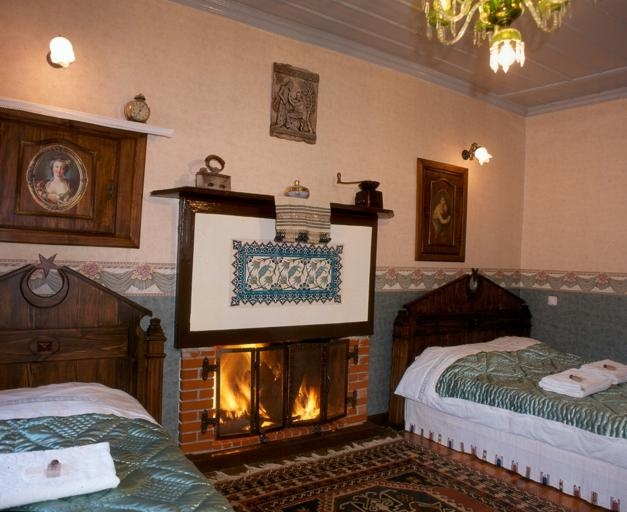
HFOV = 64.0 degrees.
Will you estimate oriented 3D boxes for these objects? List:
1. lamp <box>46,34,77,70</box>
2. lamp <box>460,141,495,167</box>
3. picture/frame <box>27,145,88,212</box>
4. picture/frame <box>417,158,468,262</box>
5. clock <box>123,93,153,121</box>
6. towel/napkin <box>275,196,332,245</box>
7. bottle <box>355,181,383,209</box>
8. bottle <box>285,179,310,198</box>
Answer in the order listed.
[{"bbox_3d":[-1.731,-1.388,3.402,0.067,0.227,0.172,17,21,42],"label":"lamp"},{"bbox_3d":[1.827,-1.132,5.578,0.239,0.223,0.330,11,3,-26],"label":"lamp"},{"bbox_3d":[-1.784,-0.544,3.456,0.476,0.600,0.043,-1,6,-34],"label":"picture/frame"},{"bbox_3d":[1.392,-0.481,5.421,0.761,1.079,0.120,2,6,-33],"label":"picture/frame"},{"bbox_3d":[-1.297,-1.091,3.689,0.180,0.213,0.148,9,6,30],"label":"clock"},{"bbox_3d":[-0.096,-0.297,4.089,0.404,0.286,0.045,2,-2,-36],"label":"towel/napkin"},{"bbox_3d":[0.513,-0.562,4.696,0.268,0.319,0.273,-2,4,-26],"label":"bottle"},{"bbox_3d":[-0.125,-0.569,4.224,0.177,0.155,0.179,1,0,-6],"label":"bottle"}]
